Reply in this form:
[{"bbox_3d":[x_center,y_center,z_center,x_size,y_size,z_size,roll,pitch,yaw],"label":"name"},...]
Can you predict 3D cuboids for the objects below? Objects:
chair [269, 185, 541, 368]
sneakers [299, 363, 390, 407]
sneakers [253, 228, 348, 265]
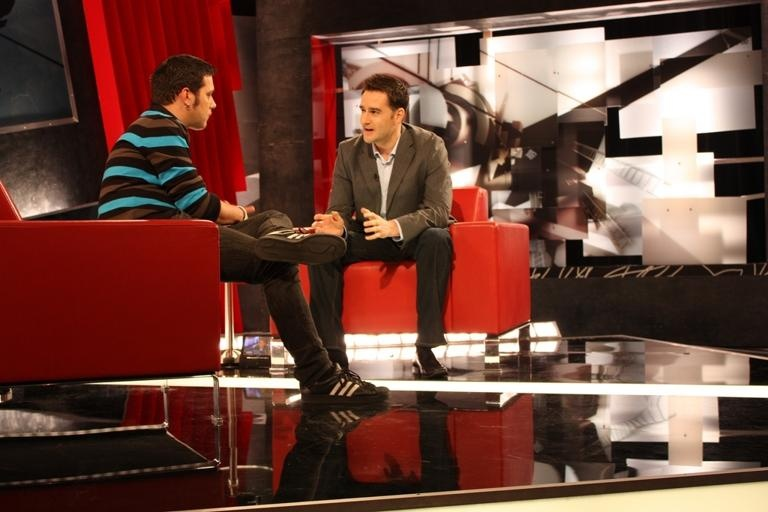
[{"bbox_3d":[0.145,0.171,3.802,1.726,1.153,0.926,-3,-5,24],"label":"chair"},{"bbox_3d":[-0.173,0.617,3.219,0.445,0.190,0.161,1,-4,-4],"label":"sneakers"},{"bbox_3d":[-0.348,-0.043,2.935,0.416,0.144,0.248,3,5,0],"label":"sneakers"}]
